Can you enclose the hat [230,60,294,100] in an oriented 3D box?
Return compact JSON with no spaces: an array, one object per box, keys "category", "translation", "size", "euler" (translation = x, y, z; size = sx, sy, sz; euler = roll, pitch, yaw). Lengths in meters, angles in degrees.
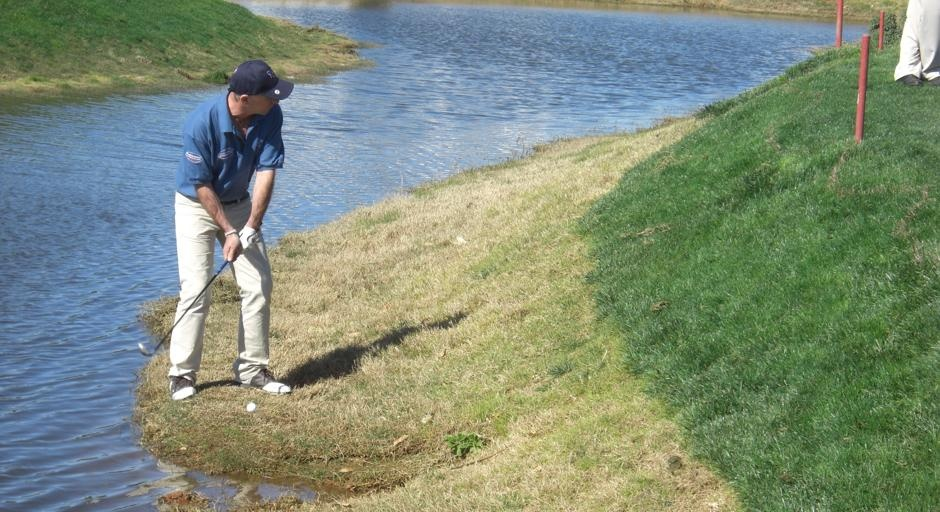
[{"category":"hat","translation":[-5.536,-4.474,30.342],"size":[1.557,0.982,0.611],"euler":[0,23,-10]}]
